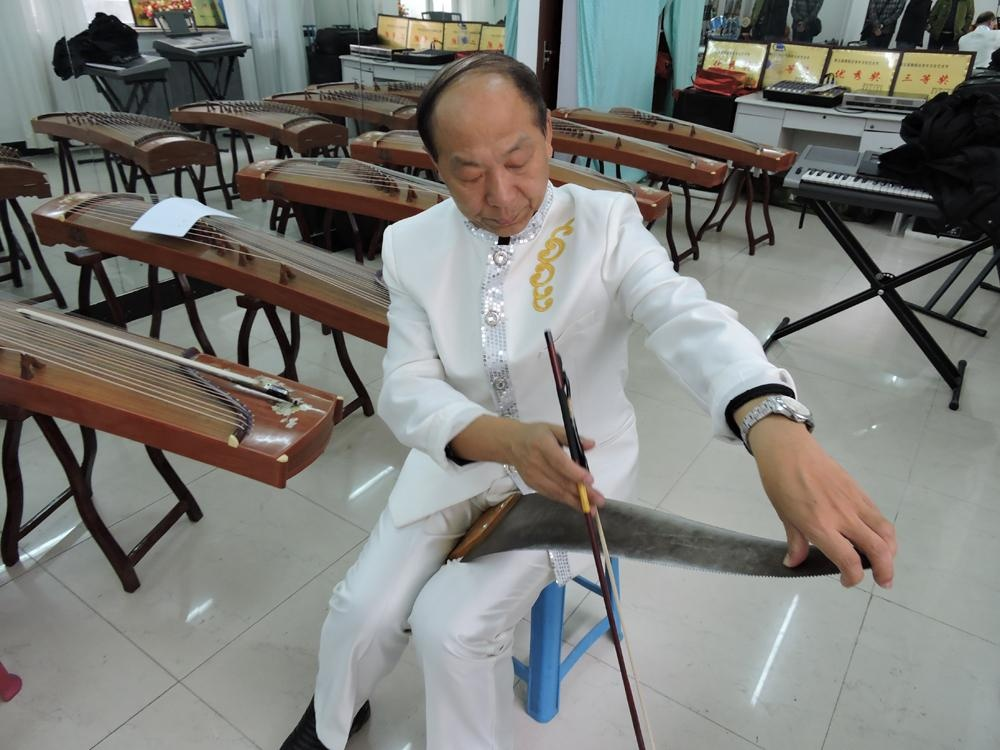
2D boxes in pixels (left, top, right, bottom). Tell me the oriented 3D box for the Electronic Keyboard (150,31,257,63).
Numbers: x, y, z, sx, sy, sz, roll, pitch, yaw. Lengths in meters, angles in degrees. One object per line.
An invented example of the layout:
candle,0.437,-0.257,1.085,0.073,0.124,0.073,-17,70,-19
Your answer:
Electronic Keyboard,-1.353,-1.488,2.932,0.130,0.133,0.436,28,42,32

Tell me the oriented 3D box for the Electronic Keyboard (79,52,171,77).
Electronic Keyboard,-1.577,-1.325,2.769,0.033,0.079,0.367,24,40,30

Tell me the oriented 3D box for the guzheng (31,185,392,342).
guzheng,-1.335,-0.487,2.899,1.601,0.266,0.403,24,36,2

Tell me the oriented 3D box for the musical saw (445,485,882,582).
musical saw,0.263,0.322,1.255,0.783,0.067,0.231,-6,24,41
